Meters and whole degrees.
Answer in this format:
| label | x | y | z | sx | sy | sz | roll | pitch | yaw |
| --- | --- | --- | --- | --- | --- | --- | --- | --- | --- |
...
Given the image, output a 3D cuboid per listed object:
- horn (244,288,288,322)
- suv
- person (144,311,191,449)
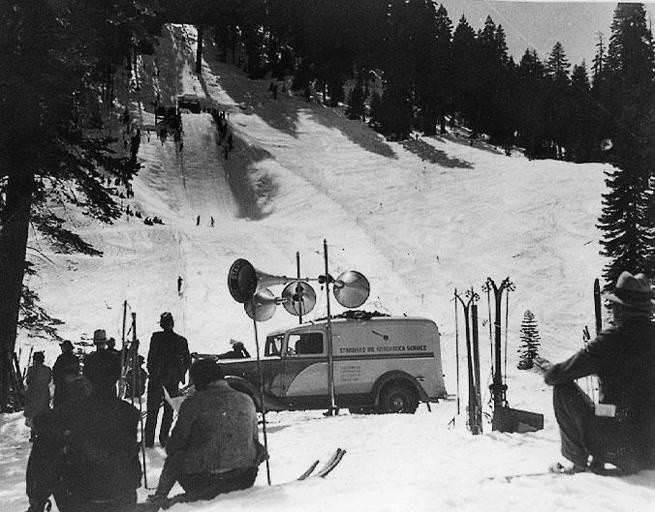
| label | x | y | z | sx | sy | sz | roll | pitch | yaw |
| --- | --- | --- | --- | --- | --- | --- | --- | --- | --- |
| horn | -1.865 | 1.484 | 34.145 | 0.983 | 1.082 | 0.955 | 4 | 3 | 45 |
| suv | 0.627 | 5.079 | 36.636 | 6.700 | 2.985 | 2.811 | -1 | -16 | -5 |
| person | -4.480 | 3.318 | 31.980 | 1.072 | 3.834 | 1.058 | 0 | 12 | -27 |
